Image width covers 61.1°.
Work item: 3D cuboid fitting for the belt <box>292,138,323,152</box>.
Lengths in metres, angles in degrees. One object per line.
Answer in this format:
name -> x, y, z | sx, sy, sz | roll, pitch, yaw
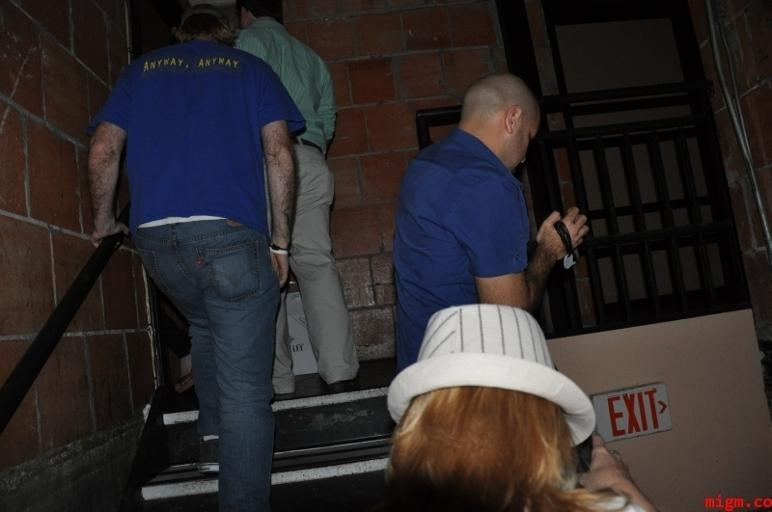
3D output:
belt -> -0.510, -0.722, 4.203 | 0.102, 0.028, 0.098 | 35, 16, 9
